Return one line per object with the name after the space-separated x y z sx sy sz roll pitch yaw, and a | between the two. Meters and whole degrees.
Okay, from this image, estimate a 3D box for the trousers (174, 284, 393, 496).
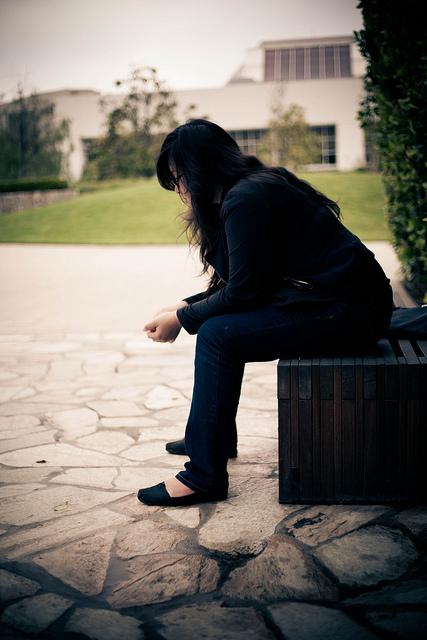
0.141 0.152 2.199 0.825 0.804 0.645 -5 25 -18 | trousers

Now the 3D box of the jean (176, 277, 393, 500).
0.201 0.117 2.220 0.792 0.902 0.748 3 32 -3 | jean
